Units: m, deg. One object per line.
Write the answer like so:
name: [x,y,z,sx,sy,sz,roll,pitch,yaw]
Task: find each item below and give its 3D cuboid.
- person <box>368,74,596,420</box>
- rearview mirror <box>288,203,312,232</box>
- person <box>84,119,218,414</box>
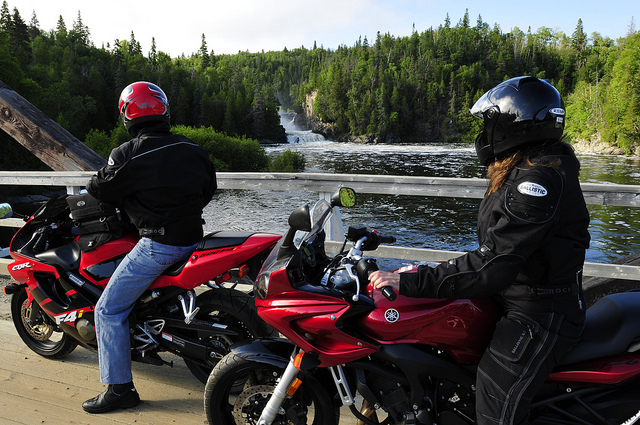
person: [1.042,0.192,2.931,0.945,1.942,0.493,4,9,15]
rearview mirror: [-0.122,0.033,2.919,0.121,0.163,0.203,1,9,-3]
person: [-1.347,0.404,3.950,0.957,2.224,0.270,-1,9,-20]
